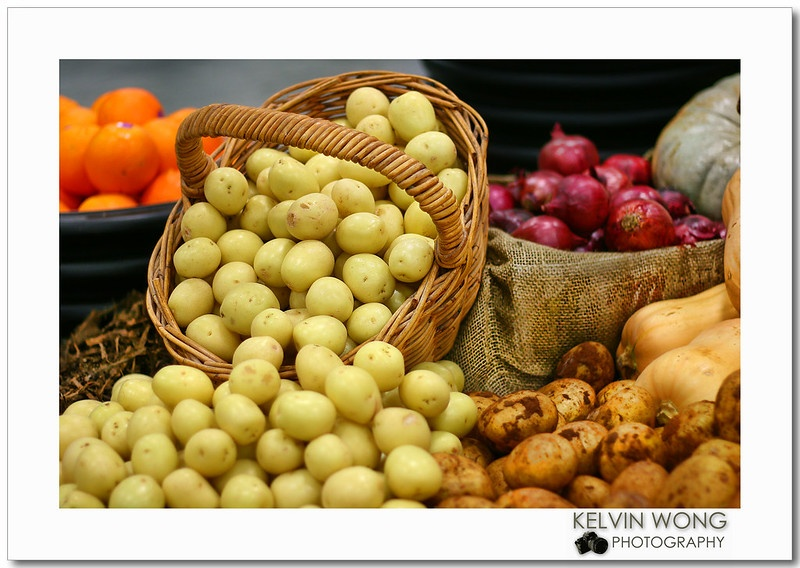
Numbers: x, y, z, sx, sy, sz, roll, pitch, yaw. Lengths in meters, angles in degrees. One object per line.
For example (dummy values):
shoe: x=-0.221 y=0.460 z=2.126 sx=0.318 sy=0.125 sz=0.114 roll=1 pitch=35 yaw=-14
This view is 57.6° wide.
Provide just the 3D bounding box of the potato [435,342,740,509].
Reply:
potato: x=0.408 y=0.316 z=1.433 sx=0.398 sy=0.142 sz=0.356 roll=-8 pitch=18 yaw=33
